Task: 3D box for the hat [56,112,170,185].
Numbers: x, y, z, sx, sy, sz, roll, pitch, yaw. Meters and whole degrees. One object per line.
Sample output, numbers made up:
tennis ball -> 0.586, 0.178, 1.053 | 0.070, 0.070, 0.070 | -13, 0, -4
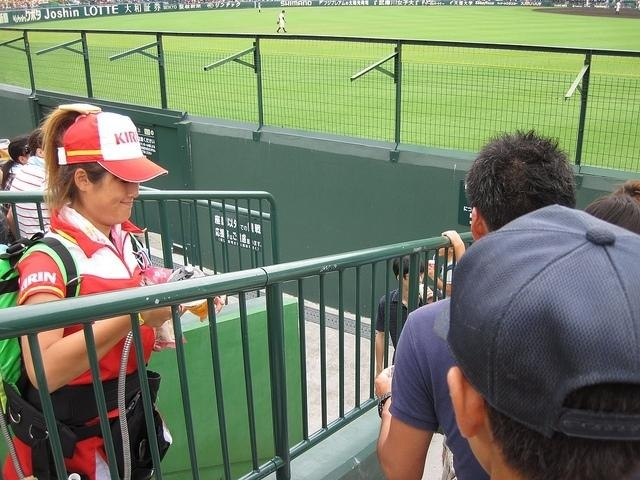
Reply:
hat -> -0.875, -0.397, 2.648 | 0.395, 0.212, 0.254 | 9, 17, -10
